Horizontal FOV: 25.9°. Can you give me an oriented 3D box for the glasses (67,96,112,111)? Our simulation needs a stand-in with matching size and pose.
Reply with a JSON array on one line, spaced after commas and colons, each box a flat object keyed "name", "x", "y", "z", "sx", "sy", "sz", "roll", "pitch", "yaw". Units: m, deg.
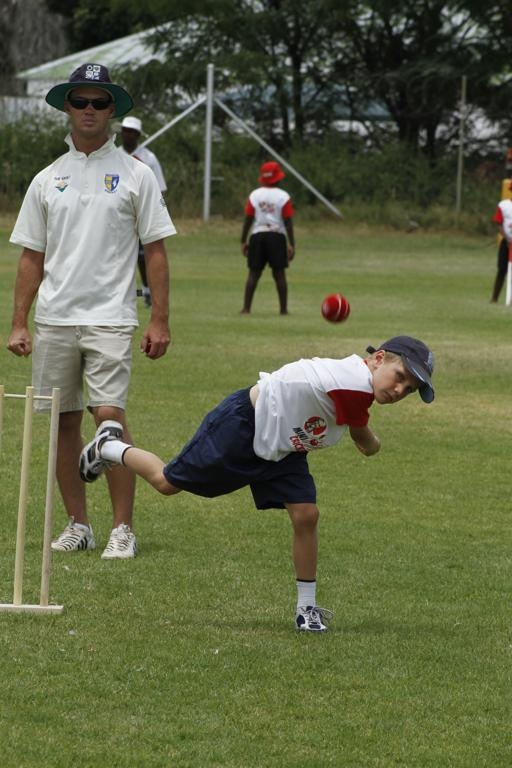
[{"name": "glasses", "x": -0.513, "y": -0.873, "z": 3.484, "sx": 0.075, "sy": 0.020, "sz": 0.070, "roll": 0, "pitch": -4, "yaw": -9}]

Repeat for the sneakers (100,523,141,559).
[{"name": "sneakers", "x": -0.416, "y": 0.488, "z": 3.415, "sx": 0.058, "sy": 0.062, "sz": 0.155, "roll": 4, "pitch": 7, "yaw": 5}]

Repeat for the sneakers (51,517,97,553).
[{"name": "sneakers", "x": -0.559, "y": 0.487, "z": 3.493, "sx": 0.060, "sy": 0.074, "sz": 0.175, "roll": -1, "pitch": -7, "yaw": 27}]

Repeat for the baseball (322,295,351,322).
[{"name": "baseball", "x": 0.266, "y": -0.241, "z": 3.437, "sx": 0.089, "sy": 0.092, "sz": 0.085, "roll": 8, "pitch": -11, "yaw": -10}]

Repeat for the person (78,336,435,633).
[{"name": "person", "x": -0.012, "y": 0.218, "z": 3.008, "sx": 0.924, "sy": 0.765, "sz": 0.289, "roll": 8, "pitch": 12, "yaw": 22}]

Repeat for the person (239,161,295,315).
[{"name": "person", "x": 0.113, "y": -1.219, "z": 9.366, "sx": 0.446, "sy": 1.261, "sz": 0.712, "roll": 3, "pitch": 11, "yaw": -1}]

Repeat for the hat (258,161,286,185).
[{"name": "hat", "x": 0.138, "y": -1.738, "z": 9.118, "sx": 0.196, "sy": 0.104, "sz": 0.189, "roll": -2, "pitch": 46, "yaw": 6}]
